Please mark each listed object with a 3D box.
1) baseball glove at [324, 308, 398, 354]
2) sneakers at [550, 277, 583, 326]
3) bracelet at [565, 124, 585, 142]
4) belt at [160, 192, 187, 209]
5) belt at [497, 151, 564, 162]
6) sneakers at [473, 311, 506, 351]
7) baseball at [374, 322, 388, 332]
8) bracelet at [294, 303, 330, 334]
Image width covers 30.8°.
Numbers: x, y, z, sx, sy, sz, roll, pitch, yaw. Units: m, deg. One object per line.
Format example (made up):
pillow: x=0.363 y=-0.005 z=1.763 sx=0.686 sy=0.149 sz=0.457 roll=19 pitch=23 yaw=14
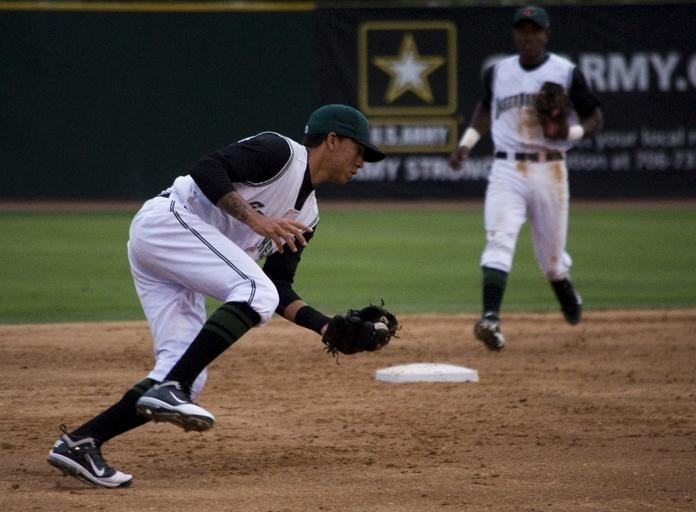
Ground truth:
baseball glove: x=0.074 y=0.570 z=9.182 sx=0.516 sy=0.208 sz=0.329 roll=-14 pitch=37 yaw=-13
sneakers: x=1.938 y=0.409 z=11.158 sx=0.215 sy=0.512 sz=0.217 roll=13 pitch=58 yaw=43
bracelet: x=1.876 y=-1.032 z=10.643 sx=0.152 sy=0.125 sz=0.138 roll=-11 pitch=27 yaw=-13
belt: x=-1.259 y=-0.409 z=9.098 sx=0.096 sy=0.166 sz=0.124 roll=-46 pitch=4 yaw=20
belt: x=1.530 y=-0.834 z=10.707 sx=0.577 sy=0.095 sz=0.142 roll=1 pitch=5 yaw=4
sneakers: x=1.186 y=0.655 z=10.420 sx=0.196 sy=0.364 sz=0.184 roll=-34 pitch=24 yaw=22
baseball: x=0.228 y=0.518 z=9.139 sx=0.081 sy=0.061 sz=0.063 roll=-20 pitch=34 yaw=-40
bracelet: x=-0.279 y=0.456 z=9.224 sx=0.301 sy=0.109 sz=0.164 roll=19 pitch=-12 yaw=26
